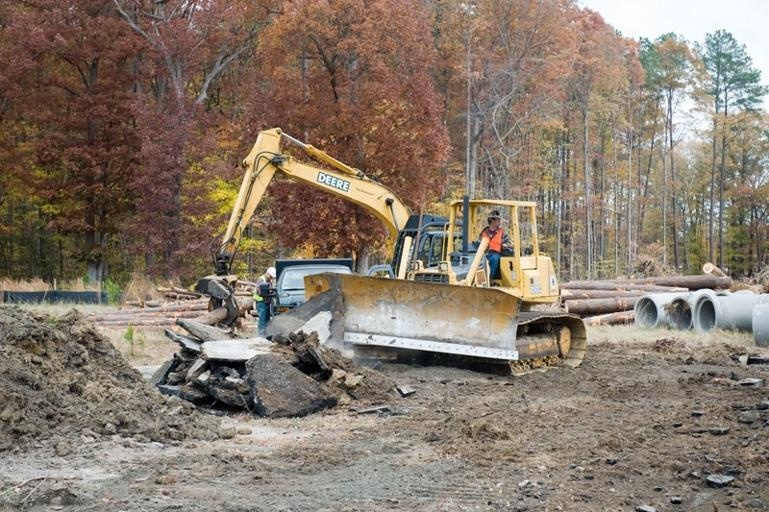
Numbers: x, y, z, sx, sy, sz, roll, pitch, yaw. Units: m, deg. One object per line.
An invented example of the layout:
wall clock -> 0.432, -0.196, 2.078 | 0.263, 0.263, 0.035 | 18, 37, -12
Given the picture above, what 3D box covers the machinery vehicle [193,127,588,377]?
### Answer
machinery vehicle -> 2.528, 0.069, 31.643 | 11.099, 5.749, 7.690 | 8, -7, -38
